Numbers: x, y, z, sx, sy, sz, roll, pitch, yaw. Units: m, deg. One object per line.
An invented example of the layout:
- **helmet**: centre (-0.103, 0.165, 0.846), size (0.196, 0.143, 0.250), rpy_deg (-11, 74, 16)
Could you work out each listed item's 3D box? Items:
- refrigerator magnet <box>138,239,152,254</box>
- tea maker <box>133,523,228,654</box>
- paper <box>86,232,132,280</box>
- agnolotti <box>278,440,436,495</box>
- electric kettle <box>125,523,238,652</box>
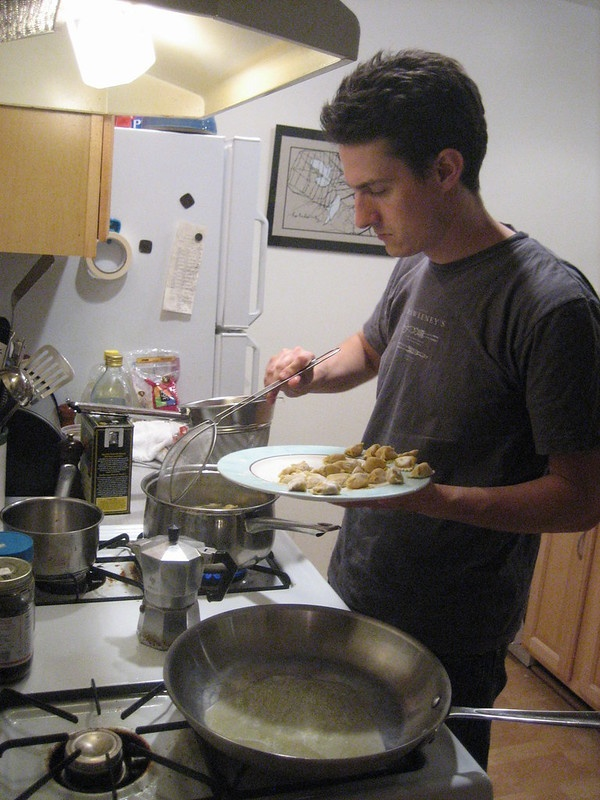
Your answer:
- **refrigerator magnet**: centre (-0.480, -0.478, 2.155), size (0.047, 0.038, 0.010), rpy_deg (3, 11, -20)
- **tea maker**: centre (-0.160, 0.242, 0.905), size (0.144, 0.147, 0.097), rpy_deg (3, 7, 13)
- **paper**: centre (-0.564, -0.417, 2.050), size (0.163, 0.147, 0.097), rpy_deg (6, -6, -13)
- **agnolotti**: centre (0.070, 0.102, 1.074), size (0.232, 0.049, 0.277), rpy_deg (2, 8, -17)
- **electric kettle**: centre (-0.165, 0.246, 0.957), size (0.154, 0.145, 0.144), rpy_deg (-7, 14, -44)
